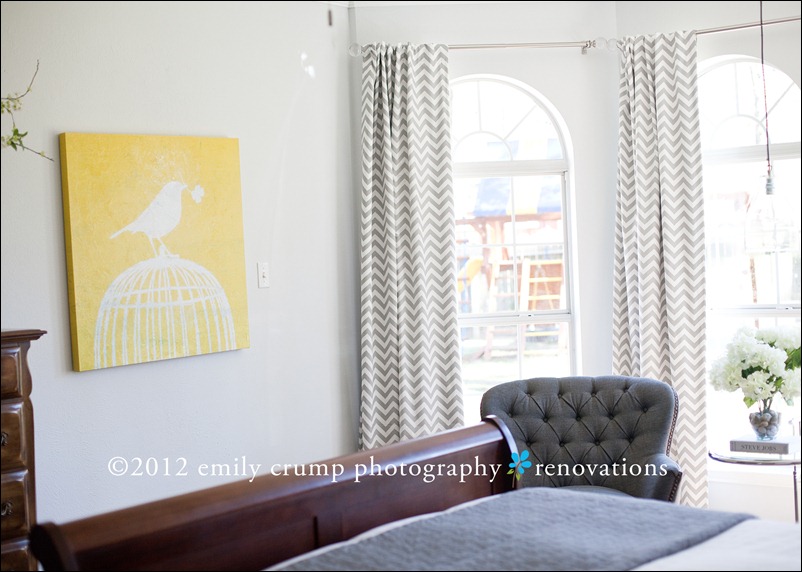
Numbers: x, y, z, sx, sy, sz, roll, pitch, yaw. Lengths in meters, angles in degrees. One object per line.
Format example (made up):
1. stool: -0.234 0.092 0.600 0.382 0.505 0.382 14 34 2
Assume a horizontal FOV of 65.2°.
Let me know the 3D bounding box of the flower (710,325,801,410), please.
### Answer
1. flower: 1.747 0.399 3.094 0.372 0.374 0.267 0 0 31

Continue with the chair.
1. chair: 0.864 0.646 3.052 0.676 0.734 0.656 0 -1 4

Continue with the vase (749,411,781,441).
1. vase: 1.750 0.677 3.047 0.135 0.130 0.135 9 -16 -31
